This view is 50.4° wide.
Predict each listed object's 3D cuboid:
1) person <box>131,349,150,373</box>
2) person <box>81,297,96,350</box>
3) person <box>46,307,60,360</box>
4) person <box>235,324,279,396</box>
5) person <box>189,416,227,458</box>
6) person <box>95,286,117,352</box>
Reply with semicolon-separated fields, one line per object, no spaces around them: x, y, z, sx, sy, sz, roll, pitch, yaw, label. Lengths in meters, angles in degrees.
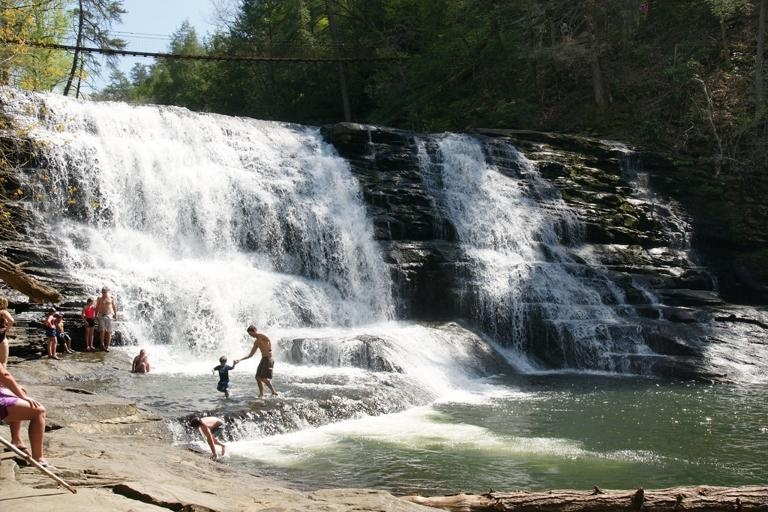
-8.509;3.664;28.287;0.605;0.820;0.488;-1;-6;-16;person
-10.717;2.481;29.472;0.445;1.854;0.726;-1;-6;-19;person
-11.756;2.720;28.686;0.421;1.768;0.769;-1;-6;-21;person
-4.031;3.437;26.653;0.900;2.290;1.097;-2;-5;-8;person
-5.245;5.343;23.936;1.014;1.081;0.990;-26;8;-31;person
-10.138;2.287;29.559;0.679;2.260;0.862;-1;-6;-18;person
